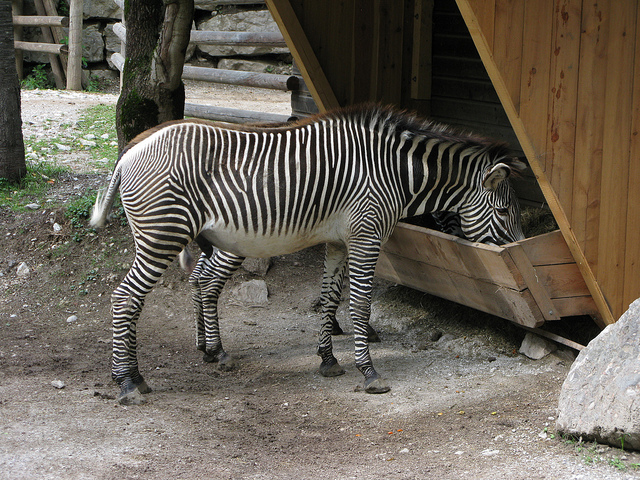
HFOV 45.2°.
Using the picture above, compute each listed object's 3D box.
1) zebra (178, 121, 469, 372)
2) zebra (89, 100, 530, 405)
[{"bbox_3d":[0.024,-0.212,8.248,3.529,2.039,2.872,3,13,4],"label":"zebra"},{"bbox_3d":[0.040,0.074,6.845,3.825,2.529,1.013,0,4,-13],"label":"zebra"}]
